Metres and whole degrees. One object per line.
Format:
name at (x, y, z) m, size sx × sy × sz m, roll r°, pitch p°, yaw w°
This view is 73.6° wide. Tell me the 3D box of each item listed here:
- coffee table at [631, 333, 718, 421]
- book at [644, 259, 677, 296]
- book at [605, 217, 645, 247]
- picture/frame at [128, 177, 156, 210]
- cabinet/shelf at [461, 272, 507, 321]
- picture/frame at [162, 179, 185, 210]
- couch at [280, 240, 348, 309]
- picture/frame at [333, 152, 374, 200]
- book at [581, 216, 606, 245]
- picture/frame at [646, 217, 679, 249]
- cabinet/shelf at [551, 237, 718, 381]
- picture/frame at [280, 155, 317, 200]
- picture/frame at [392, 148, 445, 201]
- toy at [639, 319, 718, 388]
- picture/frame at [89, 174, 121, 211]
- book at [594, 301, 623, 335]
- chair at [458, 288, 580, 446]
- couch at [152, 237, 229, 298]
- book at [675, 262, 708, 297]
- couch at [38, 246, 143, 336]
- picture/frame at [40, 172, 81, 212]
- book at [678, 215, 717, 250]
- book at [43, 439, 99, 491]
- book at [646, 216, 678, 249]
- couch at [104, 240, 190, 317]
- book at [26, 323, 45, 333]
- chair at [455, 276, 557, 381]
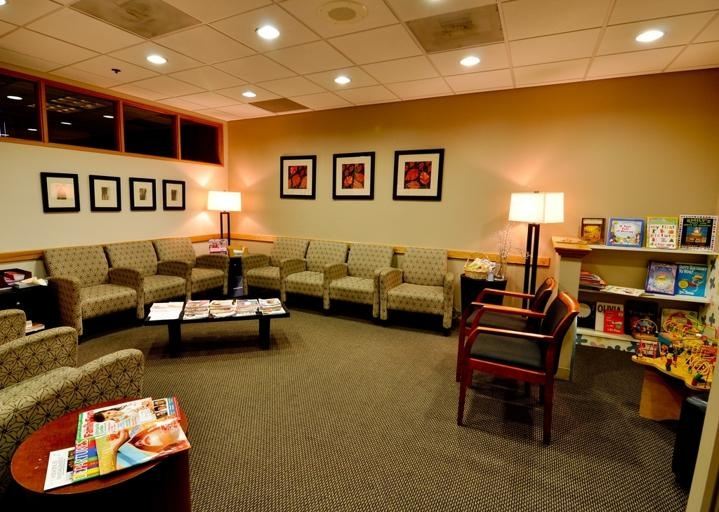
coffee table at (2.731, 1.064, 4.160) m, size 0.756 × 0.592 × 0.528 m, roll 5°, pitch 16°, yaw 38°
book at (3.438, 0.244, 5.478) m, size 0.290 × 0.351 × 0.112 m, roll 7°, pitch 9°, yaw 34°
book at (3.074, -0.277, 5.579) m, size 0.343 × 0.378 × 0.343 m, roll 3°, pitch 0°, yaw 23°
picture/frame at (-3.058, -0.888, 6.794) m, size 0.389 × 0.481 × 0.035 m, roll 1°, pitch 5°, yaw 2°
cabinet/shelf at (1.422, 0.435, 5.877) m, size 0.594 × 0.640 × 0.551 m, roll 5°, pitch 7°, yaw 28°
picture/frame at (-2.793, -0.940, 7.153) m, size 0.032 × 0.498 × 0.435 m, roll 6°, pitch 9°, yaw 26°
couch at (-0.630, 0.201, 6.974) m, size 0.963 × 0.906 × 1.030 m, roll 2°, pitch 5°, yaw -2°
picture/frame at (-0.069, -1.195, 6.971) m, size 0.669 × 0.724 × 0.048 m, roll 2°, pitch 3°, yaw 25°
book at (2.773, -0.301, 5.685) m, size 0.326 × 0.457 × 0.047 m, roll 2°, pitch -5°, yaw 16°
picture/frame at (3.415, -0.263, 5.399) m, size 0.327 × 0.462 × 0.051 m, roll 2°, pitch -7°, yaw 30°
cabinet/shelf at (2.976, 0.554, 5.115) m, size 1.322 × 1.322 × 0.451 m, roll 3°, pitch -2°, yaw 22°
picture/frame at (-0.928, -1.254, 7.418) m, size 0.638 × 0.689 × 0.046 m, roll 4°, pitch 6°, yaw 21°
picture/frame at (0.827, -1.137, 6.544) m, size 0.664 × 0.669 × 0.058 m, roll 5°, pitch 4°, yaw 25°
toy at (2.954, 0.917, 4.436) m, size 0.681 × 0.220 × 0.683 m, roll -6°, pitch 12°, yaw 3°
picture/frame at (-3.363, -0.843, 6.359) m, size 0.361 × 0.464 × 0.031 m, roll -1°, pitch 7°, yaw -21°
book at (2.957, 0.728, 5.682) m, size 0.327 × 0.455 × 0.049 m, roll -8°, pitch -14°, yaw 44°
chair at (1.422, 0.930, 4.514) m, size 1.124 × 1.194 × 1.139 m, roll 11°, pitch 11°, yaw 41°
couch at (-2.493, 0.168, 7.065) m, size 0.869 × 0.962 × 0.753 m, roll -1°, pitch 7°, yaw 43°
book at (3.715, 0.261, 5.364) m, size 0.329 × 0.470 × 0.050 m, roll 6°, pitch 7°, yaw 35°
couch at (-3.286, 0.342, 5.860) m, size 0.965 × 0.931 × 0.905 m, roll 5°, pitch 9°, yaw 27°
picture/frame at (-3.707, -0.810, 5.904) m, size 0.036 × 0.564 × 0.479 m, roll 6°, pitch 7°, yaw 28°
book at (3.722, -0.261, 5.271) m, size 0.339 × 0.476 × 0.048 m, roll 4°, pitch -4°, yaw 32°
book at (-1.837, 1.341, 3.077) m, size 0.305 × 0.199 × 0.248 m, roll -2°, pitch 9°, yaw -24°
book at (3.409, -0.269, 5.404) m, size 0.305 × 0.431 × 0.048 m, roll 7°, pitch 1°, yaw 34°
couch at (-2.783, 0.267, 6.577) m, size 0.914 × 0.987 × 0.847 m, roll 5°, pitch 9°, yaw 35°
book at (-3.507, 0.777, 5.198) m, size 0.121 × 0.030 × 0.123 m, roll -4°, pitch 8°, yaw -39°
chair at (1.568, 0.594, 5.190) m, size 1.089 × 1.479 × 1.043 m, roll 3°, pitch 8°, yaw 19°
